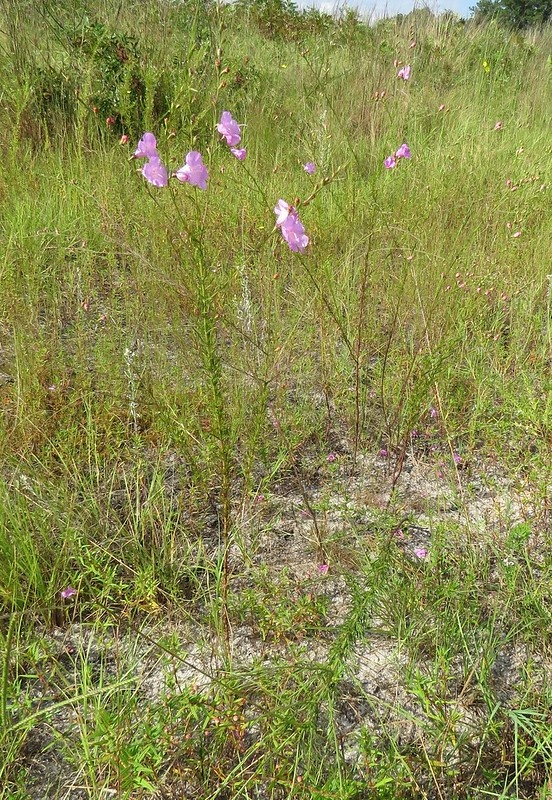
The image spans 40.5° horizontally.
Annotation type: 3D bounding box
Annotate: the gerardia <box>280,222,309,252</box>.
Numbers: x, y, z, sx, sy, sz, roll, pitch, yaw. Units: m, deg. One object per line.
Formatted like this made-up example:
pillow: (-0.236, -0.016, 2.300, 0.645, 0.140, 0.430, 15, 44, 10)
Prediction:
gerardia: (0.042, -0.362, 1.630, 0.055, 0.064, 0.033, 14, 29, -16)

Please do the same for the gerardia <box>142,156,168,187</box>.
gerardia: (-0.232, -0.441, 1.449, 0.047, 0.054, 0.022, 26, 15, -9)
